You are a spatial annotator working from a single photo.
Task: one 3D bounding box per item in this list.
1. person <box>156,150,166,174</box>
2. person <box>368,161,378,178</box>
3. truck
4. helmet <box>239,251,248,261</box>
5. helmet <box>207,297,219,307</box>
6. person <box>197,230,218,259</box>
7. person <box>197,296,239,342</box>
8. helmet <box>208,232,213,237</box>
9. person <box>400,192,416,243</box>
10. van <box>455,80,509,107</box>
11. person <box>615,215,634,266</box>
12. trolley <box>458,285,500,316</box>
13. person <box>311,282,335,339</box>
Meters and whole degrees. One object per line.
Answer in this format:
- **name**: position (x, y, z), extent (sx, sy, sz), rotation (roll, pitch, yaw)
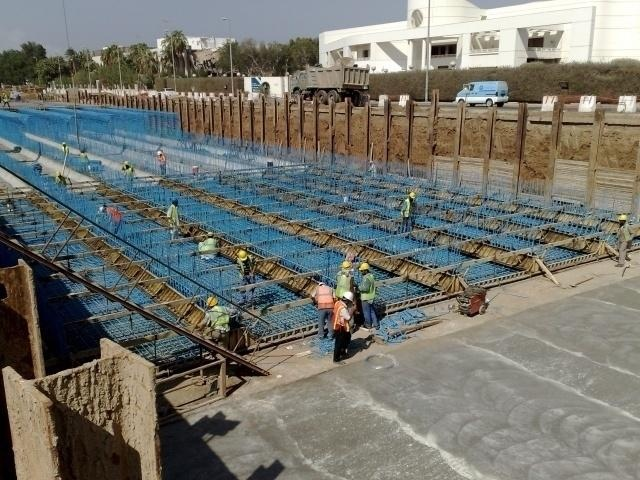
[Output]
- **person**: position (-8.703, -4.314, 28.517), extent (0.383, 1.327, 1.984), rotation (-9, 18, -17)
- **person**: position (2.820, -3.838, 28.233), extent (0.488, 1.039, 1.083), rotation (2, 21, -1)
- **truck**: position (0.616, -11.515, 36.672), extent (6.669, 2.710, 3.405), rotation (23, 33, 36)
- **helmet**: position (-1.866, 0.358, 12.526), extent (0.262, 0.267, 0.351), rotation (-5, 17, -7)
- **helmet**: position (-2.098, 1.151, 9.992), extent (0.172, 0.107, 0.218), rotation (-14, 30, -26)
- **person**: position (-3.082, 0.154, 14.216), extent (0.746, 0.835, 0.612), rotation (-1, 19, -16)
- **person**: position (-2.015, 1.563, 10.170), extent (0.693, 0.799, 0.458), rotation (-18, 38, -17)
- **helmet**: position (-2.945, -0.157, 13.913), extent (0.110, 0.123, 0.119), rotation (3, 5, -7)
- **person**: position (2.791, -0.669, 16.538), extent (0.619, 1.874, 0.719), rotation (12, 57, 19)
- **van**: position (12.827, -11.312, 40.363), extent (2.580, 1.903, 3.827), rotation (-8, 17, -17)
- **person**: position (8.777, -0.030, 14.995), extent (0.438, 1.372, 1.311), rotation (7, 20, 29)
- **trolley**: position (3.508, 1.445, 12.042), extent (0.777, 0.455, 0.538), rotation (-9, 12, -39)
- **person**: position (0.066, 1.445, 11.037), extent (0.445, 1.175, 0.634), rotation (-3, 18, 0)
